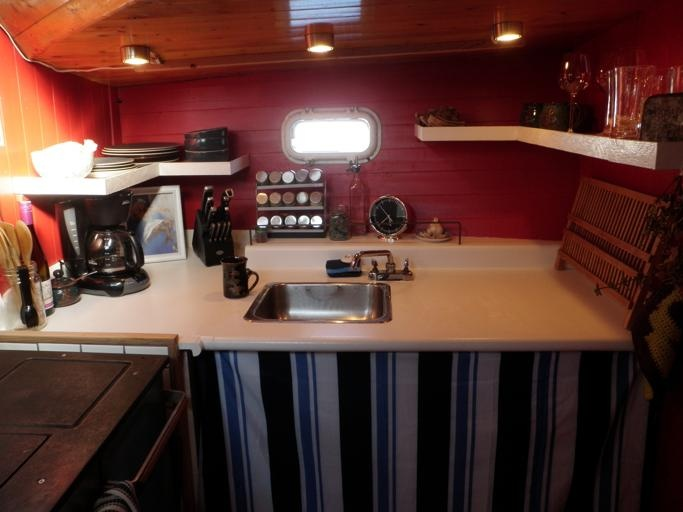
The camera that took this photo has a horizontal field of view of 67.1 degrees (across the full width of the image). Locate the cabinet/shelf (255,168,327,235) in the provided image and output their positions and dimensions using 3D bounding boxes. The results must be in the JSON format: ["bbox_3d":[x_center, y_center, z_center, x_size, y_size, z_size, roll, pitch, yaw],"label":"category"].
[{"bbox_3d":[-0.325,-0.308,3.040,0.416,0.378,0.201,-4,11,-22],"label":"cabinet/shelf"}]

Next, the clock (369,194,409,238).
[{"bbox_3d":[0.273,-0.232,2.938,0.255,0.279,0.112,0,8,6],"label":"clock"}]

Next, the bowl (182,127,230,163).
[{"bbox_3d":[-0.747,-0.588,2.818,0.211,0.153,0.208,2,8,0],"label":"bowl"}]

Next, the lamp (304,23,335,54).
[{"bbox_3d":[-0.098,-0.936,2.233,0.108,0.076,0.106,-5,6,-39],"label":"lamp"}]

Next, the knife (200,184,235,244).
[{"bbox_3d":[-0.701,-0.226,2.871,0.179,0.319,0.184,-6,13,-15],"label":"knife"}]

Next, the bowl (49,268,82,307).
[{"bbox_3d":[-1.304,0.136,2.387,0.169,0.165,0.151,0,19,-8],"label":"bowl"}]

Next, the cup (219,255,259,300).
[{"bbox_3d":[-0.490,0.116,2.500,0.190,0.176,0.115,-3,4,-9],"label":"cup"}]

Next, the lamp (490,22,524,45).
[{"bbox_3d":[0.697,-0.930,2.189,0.123,0.070,0.120,-1,9,-4],"label":"lamp"}]

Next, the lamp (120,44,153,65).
[{"bbox_3d":[-0.937,-0.898,2.341,0.101,0.060,0.101,5,9,28],"label":"lamp"}]

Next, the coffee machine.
[{"bbox_3d":[-1.140,-0.067,2.572,0.383,0.486,0.308,5,11,23],"label":"coffee machine"}]

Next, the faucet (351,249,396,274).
[{"bbox_3d":[0.181,0.025,2.760,0.212,0.126,0.226,-1,12,7],"label":"faucet"}]

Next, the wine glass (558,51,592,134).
[{"bbox_3d":[0.997,-0.680,2.210,0.109,0.302,0.586,3,13,23],"label":"wine glass"}]

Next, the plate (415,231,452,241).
[{"bbox_3d":[0.529,-0.106,2.940,0.197,0.054,0.103,-1,12,7],"label":"plate"}]

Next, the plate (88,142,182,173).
[{"bbox_3d":[-1.101,-0.547,2.780,0.299,0.133,0.683,0,12,12],"label":"plate"}]
